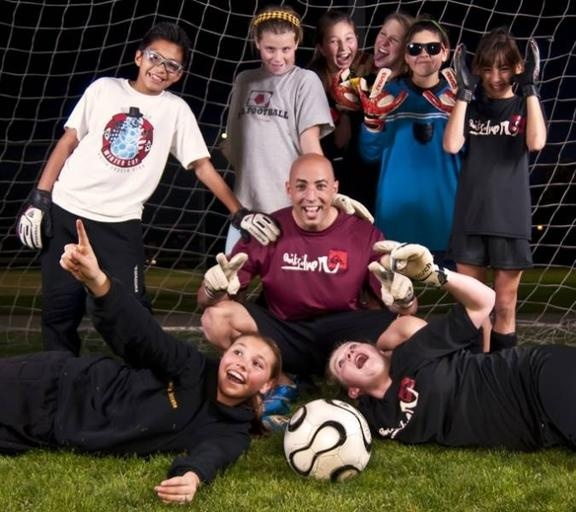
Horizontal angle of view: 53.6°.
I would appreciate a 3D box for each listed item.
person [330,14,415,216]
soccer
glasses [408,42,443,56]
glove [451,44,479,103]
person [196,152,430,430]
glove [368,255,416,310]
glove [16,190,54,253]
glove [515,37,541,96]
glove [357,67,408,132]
[{"bbox_3d":[0.559,-1.275,4.408,0.431,1.851,0.464,6,-2,-12],"label":"person"},{"bbox_3d":[0.144,0.778,2.531,0.297,0.309,0.348,-17,-13,-16],"label":"soccer"},{"bbox_3d":[0.923,-1.414,3.886,0.229,0.085,0.057,1,3,11],"label":"glasses"},{"bbox_3d":[1.116,-1.171,3.617,0.207,0.341,0.101,9,29,26],"label":"glove"},{"bbox_3d":[0.214,0.202,3.317,1.410,1.599,1.065,0,3,15],"label":"person"},{"bbox_3d":[0.536,0.135,2.849,0.118,0.288,0.281,-18,18,-3],"label":"glove"},{"bbox_3d":[-1.452,-0.190,3.319,0.192,0.340,0.098,20,-24,-12],"label":"glove"},{"bbox_3d":[1.506,-1.160,3.548,0.121,0.368,0.155,8,9,18],"label":"glove"},{"bbox_3d":[0.627,-1.045,3.900,0.329,0.417,0.127,10,8,18],"label":"glove"}]
